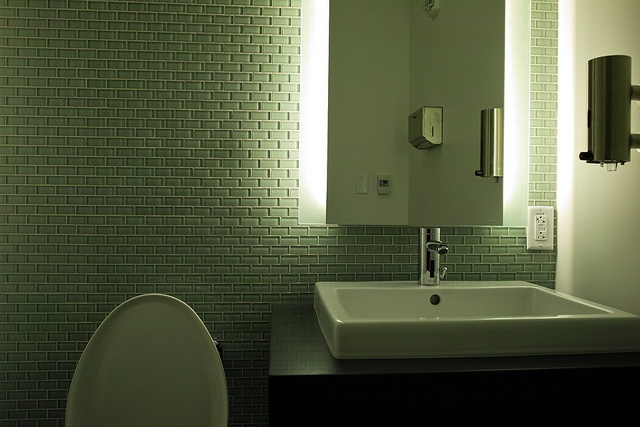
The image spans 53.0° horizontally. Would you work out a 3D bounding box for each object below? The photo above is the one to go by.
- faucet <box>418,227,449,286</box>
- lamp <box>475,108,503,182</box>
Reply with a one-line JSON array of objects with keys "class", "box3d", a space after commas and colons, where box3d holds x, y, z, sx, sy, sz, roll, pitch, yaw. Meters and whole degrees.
[{"class": "faucet", "box3d": [0.512, 0.191, 2.919, 0.133, 0.261, 0.251, 0, 7, 10]}, {"class": "lamp", "box3d": [0.795, -0.330, 2.962, 0.183, 0.319, 0.092, -6, 8, -33]}]
